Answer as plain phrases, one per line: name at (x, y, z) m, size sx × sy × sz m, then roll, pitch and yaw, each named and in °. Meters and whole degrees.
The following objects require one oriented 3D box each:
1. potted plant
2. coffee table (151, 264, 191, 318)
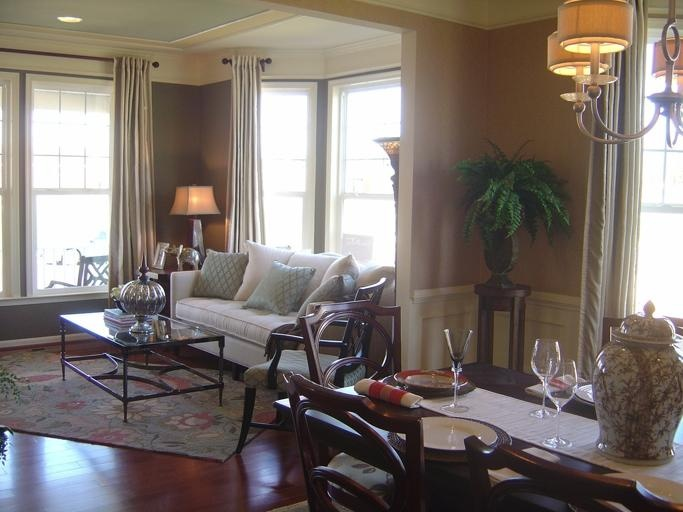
potted plant at (1.177, -0.340, 4.242) m, size 0.928 × 1.135 × 0.928 m, roll -3°, pitch 8°, yaw -27°
coffee table at (-1.843, 0.324, 6.140) m, size 0.457 × 0.691 × 0.658 m, roll 0°, pitch 5°, yaw -32°
